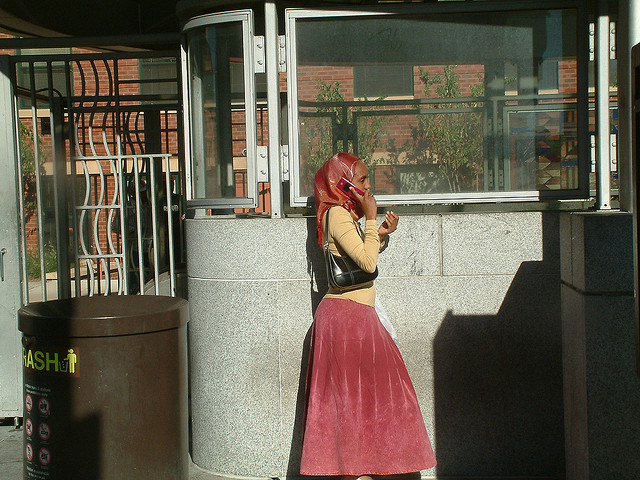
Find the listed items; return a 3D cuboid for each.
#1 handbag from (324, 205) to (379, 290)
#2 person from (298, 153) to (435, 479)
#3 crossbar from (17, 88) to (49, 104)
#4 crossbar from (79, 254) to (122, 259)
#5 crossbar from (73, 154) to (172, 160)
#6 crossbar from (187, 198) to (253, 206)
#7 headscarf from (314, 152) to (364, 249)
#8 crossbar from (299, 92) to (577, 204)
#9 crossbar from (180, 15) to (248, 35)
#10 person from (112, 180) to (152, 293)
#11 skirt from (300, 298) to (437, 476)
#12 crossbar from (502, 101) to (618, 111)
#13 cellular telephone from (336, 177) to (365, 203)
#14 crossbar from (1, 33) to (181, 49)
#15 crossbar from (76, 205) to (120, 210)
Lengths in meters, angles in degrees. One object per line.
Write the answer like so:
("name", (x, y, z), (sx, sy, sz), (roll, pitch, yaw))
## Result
("handbag", (0.208, 0.053, 5.960), (0.458, 0.832, 0.155), (-2, -5, -22))
("person", (0.271, 0.533, 6.049), (0.863, 2.279, 0.342), (-2, 3, 7))
("crossbar", (-2.636, -1.316, 7.910), (0.240, 0.114, 0.466), (-2, 4, 4))
("crossbar", (-1.906, 0.143, 7.468), (0.423, 0.037, 0.138), (-1, 4, 20))
("crossbar", (-1.708, -0.711, 7.395), (0.856, 0.044, 0.237), (-3, 4, -3))
("crossbar", (-0.792, -0.298, 6.726), (0.584, 0.052, 0.094), (0, 5, 29))
("headscarf", (0.116, -0.289, 6.107), (0.278, 0.643, 0.299), (-2, 11, -23))
("crossbar", (0.906, -0.746, 6.646), (2.114, 0.761, 0.083), (-2, 3, 2))
("crossbar", (-0.840, -1.668, 6.654), (0.611, 0.091, 0.090), (-1, 4, 27))
("person", (-1.825, -0.035, 8.451), (0.343, 1.096, 2.289), (-3, 4, -12))
("skirt", (0.297, 1.010, 6.014), (0.893, 1.214, 0.189), (-2, 3, 8))
("crossbar", (1.670, -1.010, 6.577), (0.560, 0.054, 0.029), (-3, 3, 0))
("cellular telephone", (0.218, -0.352, 6.103), (0.207, 0.119, 0.051), (39, 2, -2))
("crossbar", (-1.948, -1.722, 7.420), (1.508, 0.117, 0.369), (-3, 4, -2))
("crossbar", (-1.922, -0.281, 7.480), (0.367, 0.037, 0.199), (-3, 4, -7))
